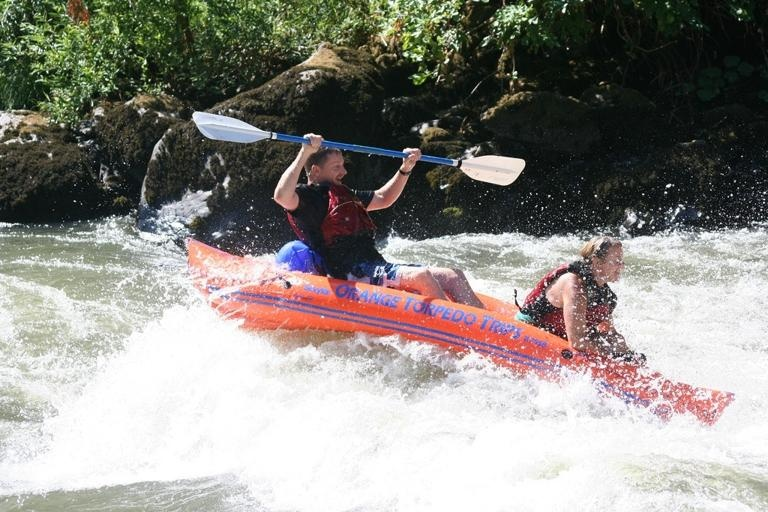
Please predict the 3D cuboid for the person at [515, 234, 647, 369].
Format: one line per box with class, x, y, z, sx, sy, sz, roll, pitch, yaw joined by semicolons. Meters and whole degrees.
person;2.102;0.516;10.442;1.213;1.369;0.501;-3;22;9
